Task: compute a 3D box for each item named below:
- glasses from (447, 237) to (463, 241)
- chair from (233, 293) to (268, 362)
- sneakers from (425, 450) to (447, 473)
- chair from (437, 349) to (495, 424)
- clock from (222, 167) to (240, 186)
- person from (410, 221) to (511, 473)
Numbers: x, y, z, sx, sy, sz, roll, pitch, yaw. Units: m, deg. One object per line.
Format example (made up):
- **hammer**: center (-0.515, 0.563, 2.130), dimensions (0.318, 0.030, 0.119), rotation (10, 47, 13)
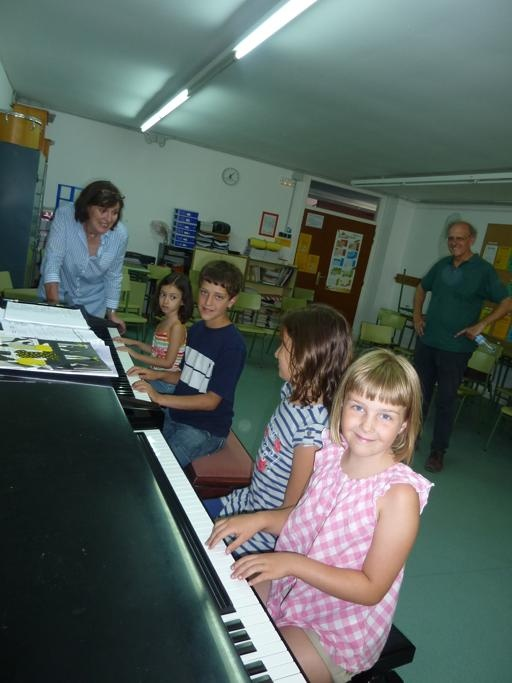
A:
- **glasses**: center (1.250, -0.646, 3.170), dimensions (0.042, 0.016, 0.056), rotation (5, 5, 38)
- **chair**: center (-0.071, -0.187, 5.582), dimensions (0.389, 0.665, 0.446), rotation (9, 13, -27)
- **sneakers**: center (1.162, 0.777, 3.304), dimensions (0.075, 0.077, 0.203), rotation (3, 9, 24)
- **chair**: center (1.850, 0.373, 4.557), dimensions (0.468, 0.579, 0.414), rotation (-11, 18, -32)
- **clock**: center (-0.330, -2.444, 7.509), dimensions (0.268, 0.248, 0.060), rotation (-4, 12, -31)
- **person**: center (1.242, 0.024, 3.391), dimensions (0.382, 1.592, 0.604), rotation (0, 18, -46)
